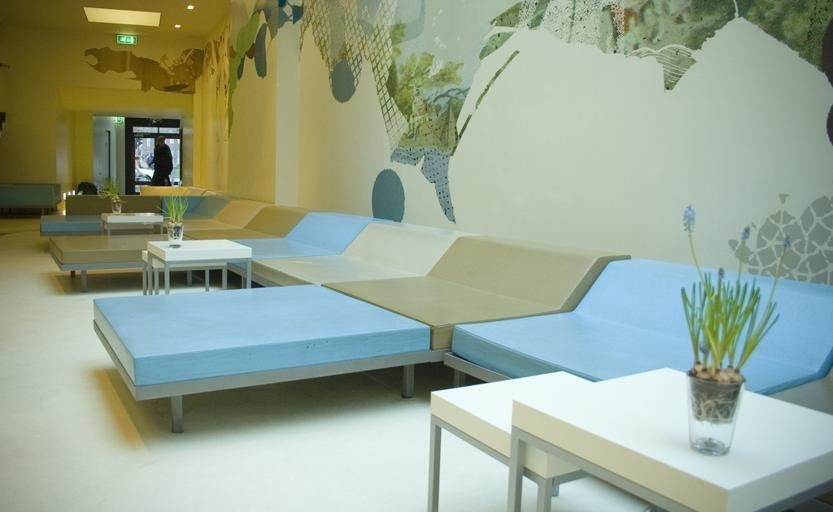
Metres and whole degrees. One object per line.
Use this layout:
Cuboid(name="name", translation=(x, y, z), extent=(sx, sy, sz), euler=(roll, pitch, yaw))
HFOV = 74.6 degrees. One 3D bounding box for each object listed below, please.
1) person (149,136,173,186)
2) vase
Cuboid(name="person", translation=(-5.137, -1.891, 10.944), extent=(0.362, 0.947, 0.813), euler=(-5, 14, -25))
Cuboid(name="vase", translation=(0.907, 0.482, 1.703), extent=(0.187, 0.230, 0.162), euler=(-2, -2, 12))
